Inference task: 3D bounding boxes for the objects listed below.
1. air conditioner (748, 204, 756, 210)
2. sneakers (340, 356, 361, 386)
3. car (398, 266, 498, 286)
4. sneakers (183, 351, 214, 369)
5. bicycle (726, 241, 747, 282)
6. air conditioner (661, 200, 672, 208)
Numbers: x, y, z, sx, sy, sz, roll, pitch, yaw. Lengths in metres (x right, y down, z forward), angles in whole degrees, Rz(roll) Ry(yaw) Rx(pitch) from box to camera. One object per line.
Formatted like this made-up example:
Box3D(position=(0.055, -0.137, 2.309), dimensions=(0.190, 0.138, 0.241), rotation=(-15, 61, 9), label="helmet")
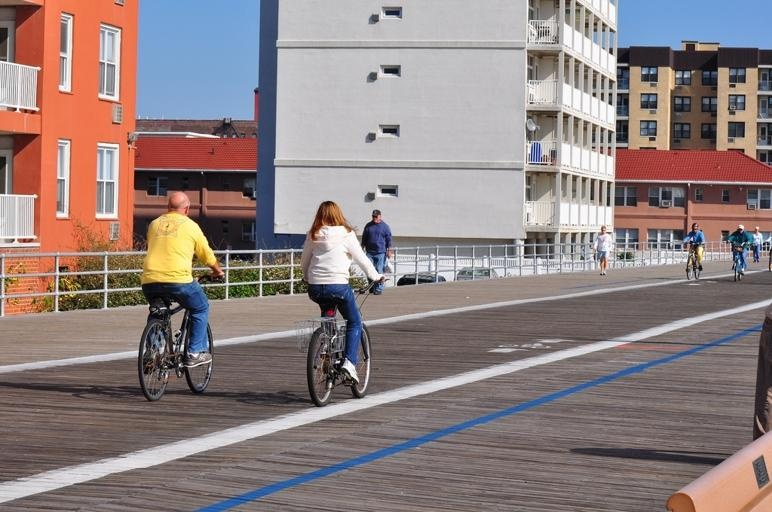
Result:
Box3D(position=(27.433, -3.528, 88.559), dimensions=(0.688, 0.405, 0.337), rotation=(0, -5, 9), label="air conditioner")
Box3D(position=(-0.419, 1.449, 14.854), dimensions=(0.137, 0.365, 0.163), rotation=(-20, 36, 25), label="sneakers")
Box3D(position=(2.602, 0.826, 46.494), dimensions=(1.522, 0.886, 2.780), rotation=(1, 3, 41), label="car")
Box3D(position=(-2.428, 1.344, 15.342), dimensions=(0.136, 0.149, 0.398), rotation=(16, 16, 35), label="sneakers")
Box3D(position=(12.028, 0.210, 40.302), dimensions=(0.916, 1.029, 1.812), rotation=(-2, -4, 13), label="bicycle")
Box3D(position=(21.165, -3.889, 89.148), dimensions=(0.600, 0.391, 0.551), rotation=(1, 6, 7), label="air conditioner")
